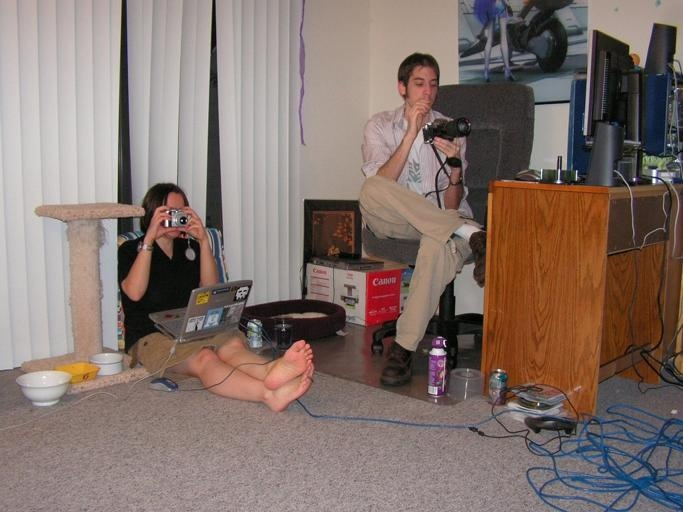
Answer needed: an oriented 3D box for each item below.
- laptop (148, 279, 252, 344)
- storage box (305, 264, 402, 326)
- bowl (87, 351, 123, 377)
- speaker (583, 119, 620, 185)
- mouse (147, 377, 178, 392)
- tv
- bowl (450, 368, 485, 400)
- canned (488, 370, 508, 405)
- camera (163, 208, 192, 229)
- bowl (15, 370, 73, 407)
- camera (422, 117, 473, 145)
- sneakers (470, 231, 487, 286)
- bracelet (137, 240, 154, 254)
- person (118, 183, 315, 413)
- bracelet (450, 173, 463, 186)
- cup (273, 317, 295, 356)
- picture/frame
[{"bbox_3d":[-0.636,0.190,2.587,0.289,0.283,0.378,26,23,34],"label":"laptop"},{"bbox_3d":[0.107,0.124,3.640,0.388,0.284,0.527,-8,12,-42],"label":"storage box"},{"bbox_3d":[-1.071,0.485,2.600,0.102,0.045,0.106,3,10,0],"label":"bowl"},{"bbox_3d":[1.151,-0.434,2.451,0.152,0.271,0.154,4,11,38],"label":"speaker"},{"bbox_3d":[-0.796,0.560,2.507,0.095,0.035,0.060,2,2,6],"label":"mouse"},{"bbox_3d":[1.267,-0.747,2.559,0.462,0.467,0.153,-6,8,-45],"label":"tv"},{"bbox_3d":[0.546,0.566,2.516,0.114,0.087,0.115,1,5,0],"label":"bowl"},{"bbox_3d":[0.661,0.556,2.410,0.077,0.136,0.078,2,7,1],"label":"canned"},{"bbox_3d":[-0.750,-0.155,2.566,0.079,0.090,0.114,-1,-1,38],"label":"camera"},{"bbox_3d":[-1.250,0.542,2.375,0.148,0.070,0.151,4,10,-1],"label":"bowl"},{"bbox_3d":[0.526,-0.630,2.837,0.146,0.095,0.158,-10,7,-44],"label":"camera"},{"bbox_3d":[0.626,-0.002,2.599,0.055,0.203,0.128,6,-8,-5],"label":"sneakers"},{"bbox_3d":[-0.900,-0.041,2.584,0.055,0.065,0.065,2,0,14],"label":"bracelet"},{"bbox_3d":[-0.597,0.147,2.503,1.142,0.841,0.502,14,13,42],"label":"person"},{"bbox_3d":[0.600,-0.400,2.992,0.046,0.034,0.063,1,-14,17],"label":"bracelet"},{"bbox_3d":[-0.342,0.432,3.090,0.135,0.241,0.140,2,1,0],"label":"cup"},{"bbox_3d":[-0.067,-0.123,4.044,0.409,0.587,0.031,-2,-24,2],"label":"picture/frame"}]
